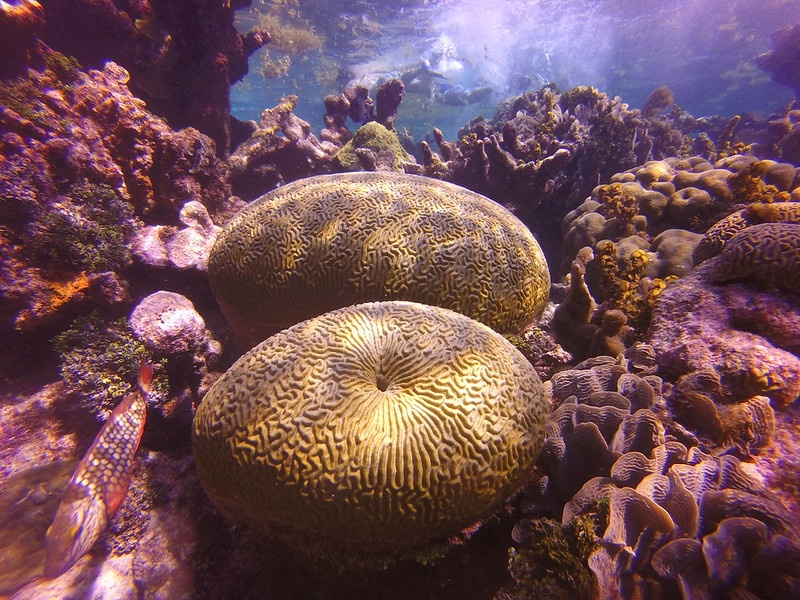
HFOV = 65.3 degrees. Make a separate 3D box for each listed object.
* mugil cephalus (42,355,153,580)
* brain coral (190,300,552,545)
[{"bbox_3d":[-3.894,2.046,8.196,1.143,1.314,2.207,-4,104,-25],"label":"mugil cephalus"},{"bbox_3d":[-0.310,1.571,7.751,3.944,0.868,2.524,-1,65,2],"label":"brain coral"}]
